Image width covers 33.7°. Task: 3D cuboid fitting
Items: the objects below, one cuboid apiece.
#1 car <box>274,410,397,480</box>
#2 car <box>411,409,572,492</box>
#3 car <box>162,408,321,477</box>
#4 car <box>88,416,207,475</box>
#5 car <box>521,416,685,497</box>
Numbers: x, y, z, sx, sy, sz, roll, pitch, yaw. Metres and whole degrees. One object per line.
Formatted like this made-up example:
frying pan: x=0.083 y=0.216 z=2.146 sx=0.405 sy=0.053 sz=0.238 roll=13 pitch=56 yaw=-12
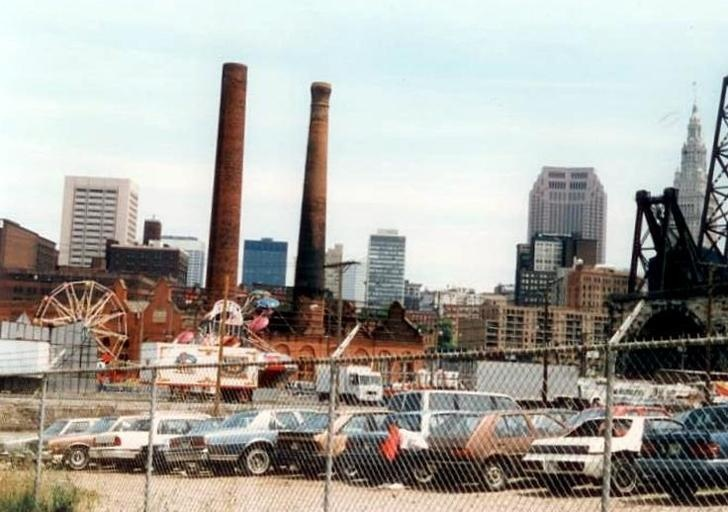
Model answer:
car: x=-1.247 y=6.753 z=43.744 sx=6.400 sy=2.203 sz=2.545 roll=4 pitch=-7 yaw=-29
car: x=4.654 y=7.539 z=44.755 sx=4.731 sy=2.138 sz=3.027 roll=-7 pitch=0 yaw=-25
car: x=-4.821 y=7.143 z=44.181 sx=7.022 sy=2.631 sz=2.733 roll=0 pitch=-4 yaw=-3
car: x=-9.128 y=7.753 z=49.032 sx=6.203 sy=2.589 sz=2.672 roll=0 pitch=-4 yaw=-8
car: x=8.603 y=7.400 z=44.500 sx=5.098 sy=3.002 sz=1.808 roll=4 pitch=-5 yaw=-16
